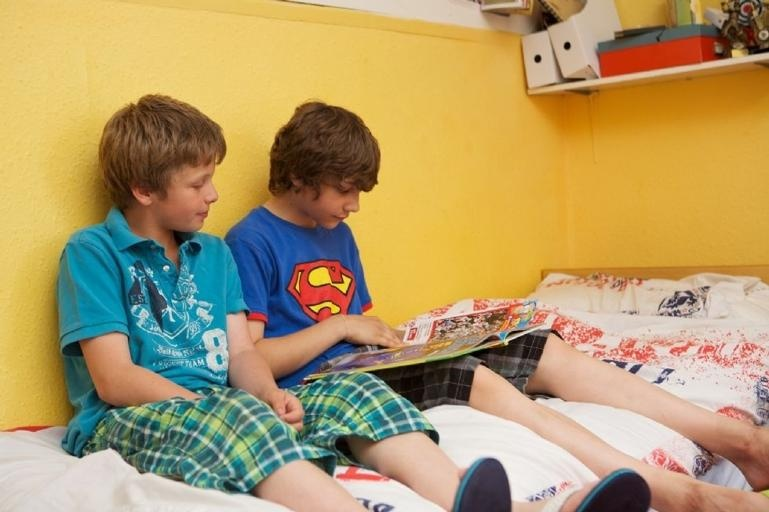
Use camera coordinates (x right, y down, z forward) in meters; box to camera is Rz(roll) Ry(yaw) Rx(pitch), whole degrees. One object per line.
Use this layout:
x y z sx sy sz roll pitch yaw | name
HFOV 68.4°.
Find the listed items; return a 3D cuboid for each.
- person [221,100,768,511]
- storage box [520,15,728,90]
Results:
0.257 0.042 1.701 1.526 0.884 0.694 7 6 27 | person
0.862 -0.780 2.162 0.425 0.146 0.398 -3 9 31 | storage box
